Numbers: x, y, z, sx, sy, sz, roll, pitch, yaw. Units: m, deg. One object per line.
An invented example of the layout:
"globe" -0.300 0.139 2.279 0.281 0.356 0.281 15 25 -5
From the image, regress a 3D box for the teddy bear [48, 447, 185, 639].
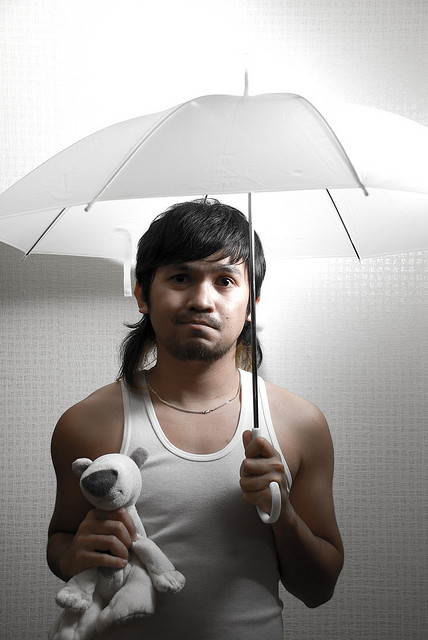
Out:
"teddy bear" -0.158 0.385 0.996 0.200 0.326 0.131 -2 10 -23

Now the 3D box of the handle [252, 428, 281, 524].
"handle" 0.087 0.268 1.000 0.046 0.163 0.123 1 9 -4
